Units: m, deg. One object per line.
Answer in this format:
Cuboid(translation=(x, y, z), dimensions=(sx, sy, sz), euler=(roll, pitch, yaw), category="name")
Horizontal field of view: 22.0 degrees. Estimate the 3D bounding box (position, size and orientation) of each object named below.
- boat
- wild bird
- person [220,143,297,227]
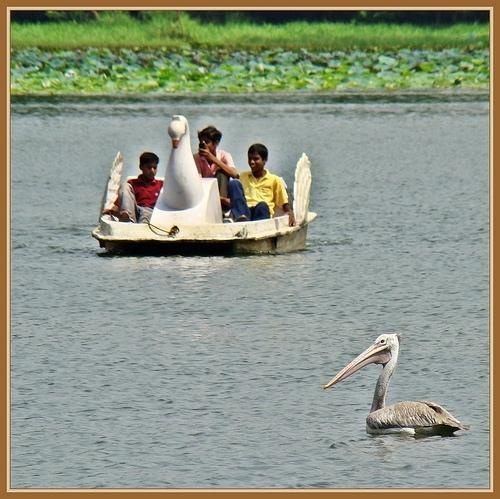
Cuboid(translation=(-0.565, -0.671, 14.906), dimensions=(2.533, 1.768, 1.217), euler=(-2, 22, -6), category="boat")
Cuboid(translation=(1.216, 1.194, 10.531), dimensions=(1.198, 0.960, 0.426), euler=(-3, -10, 23), category="wild bird")
Cuboid(translation=(0.054, -0.686, 15.308), dimensions=(0.867, 1.125, 0.695), euler=(0, -2, 32), category="person")
